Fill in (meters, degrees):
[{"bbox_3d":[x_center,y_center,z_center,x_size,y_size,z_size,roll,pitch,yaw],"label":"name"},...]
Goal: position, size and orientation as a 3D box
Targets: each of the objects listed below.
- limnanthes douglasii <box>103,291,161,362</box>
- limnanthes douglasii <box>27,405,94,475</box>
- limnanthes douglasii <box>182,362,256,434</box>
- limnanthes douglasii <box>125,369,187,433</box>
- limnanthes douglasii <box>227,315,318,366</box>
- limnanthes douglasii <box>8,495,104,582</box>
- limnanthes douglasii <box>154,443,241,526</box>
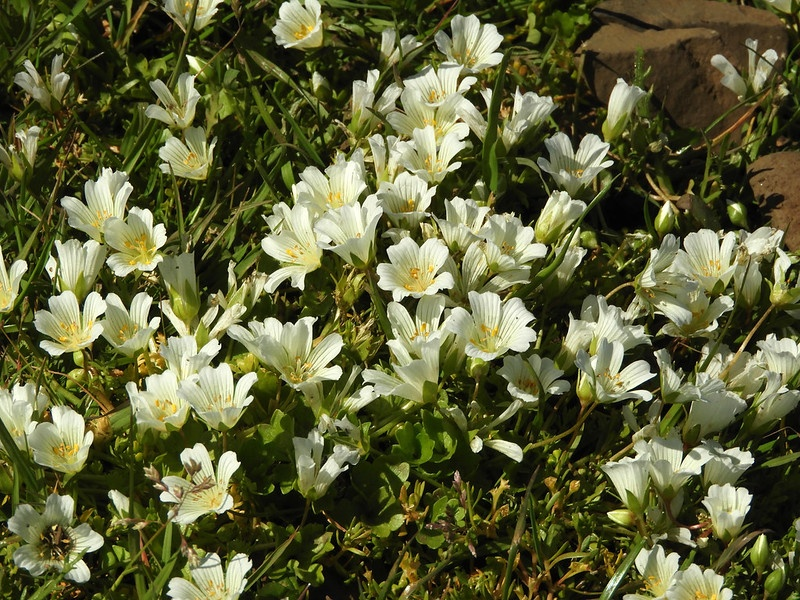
[{"bbox_3d":[-1.085,0.144,3.031,0.238,0.174,0.282,-15,42,-12],"label":"limnanthes douglasii"},{"bbox_3d":[-1.253,0.571,2.837,0.150,0.177,0.080,50,34,12],"label":"limnanthes douglasii"},{"bbox_3d":[-0.663,0.417,2.786,0.201,0.208,0.168,2,99,-16],"label":"limnanthes douglasii"},{"bbox_3d":[-0.895,0.399,2.837,0.218,0.173,0.200,-14,65,-9],"label":"limnanthes douglasii"},{"bbox_3d":[-0.489,0.165,2.914,0.308,0.214,0.207,-5,63,-5],"label":"limnanthes douglasii"},{"bbox_3d":[-1.239,0.855,2.726,0.297,0.136,0.331,26,74,-17],"label":"limnanthes douglasii"},{"bbox_3d":[-0.722,0.592,2.700,0.230,0.222,0.131,-19,91,-46],"label":"limnanthes douglasii"}]
